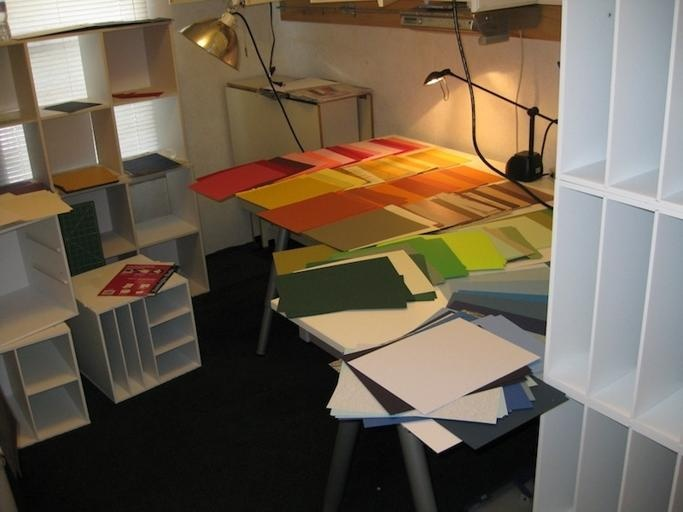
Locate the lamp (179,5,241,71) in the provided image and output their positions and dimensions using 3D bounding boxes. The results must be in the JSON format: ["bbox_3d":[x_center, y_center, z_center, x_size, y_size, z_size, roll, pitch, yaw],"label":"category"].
[{"bbox_3d":[-0.581,-0.956,2.479,0.240,0.241,0.200,-9,22,-13],"label":"lamp"}]

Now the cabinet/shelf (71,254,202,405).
[{"bbox_3d":[-1.042,0.414,3.089,0.671,0.695,0.699,-23,37,-37],"label":"cabinet/shelf"}]

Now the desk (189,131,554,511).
[{"bbox_3d":[0.218,0.154,2.715,1.451,1.060,1.937,-13,23,-20],"label":"desk"}]
